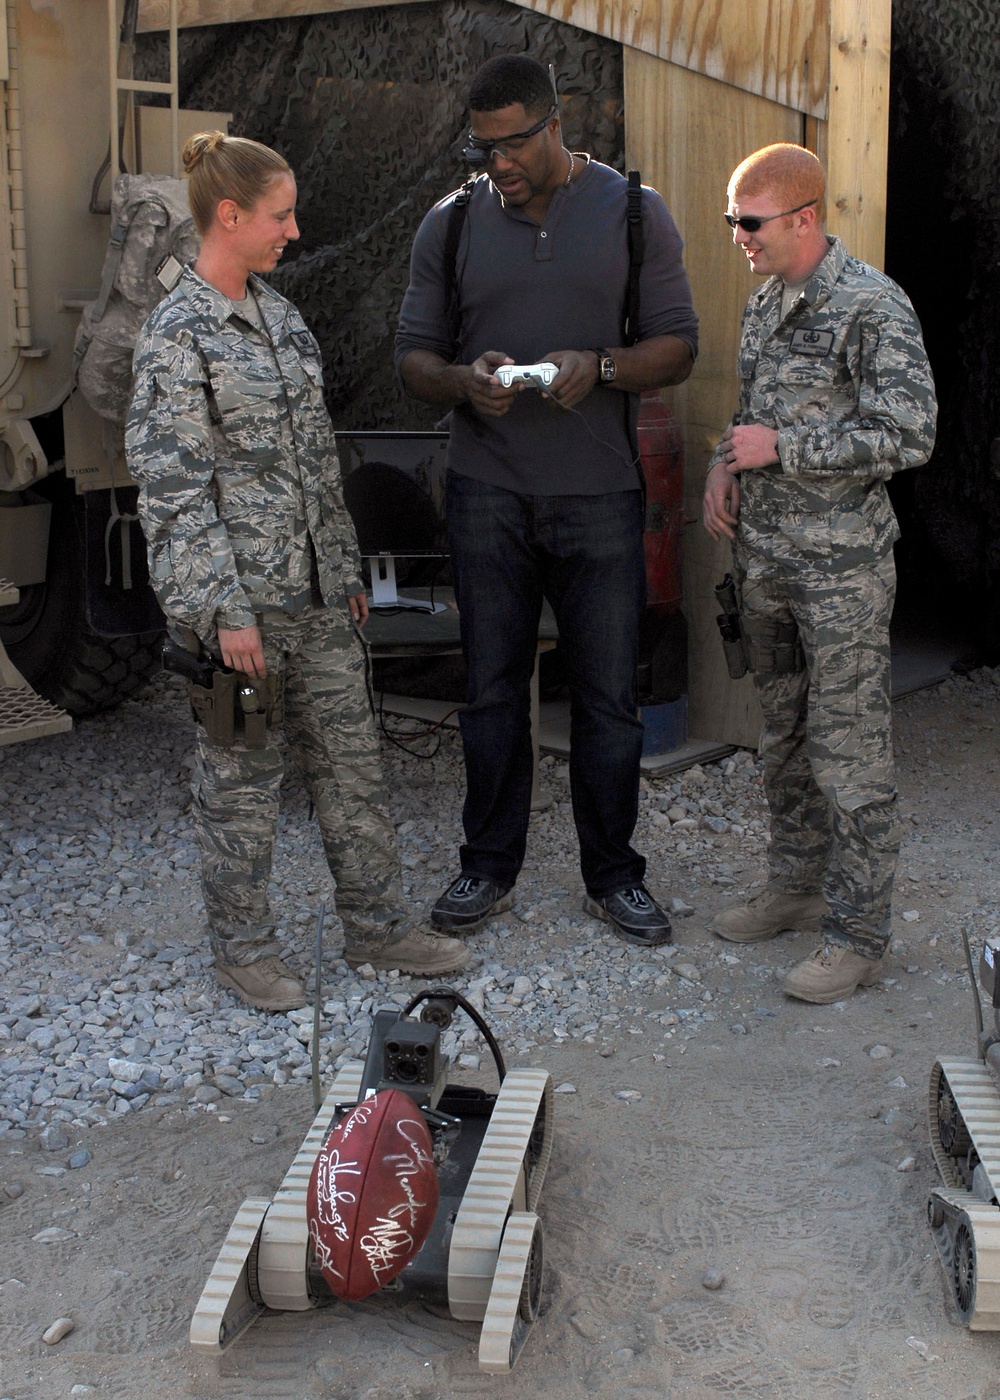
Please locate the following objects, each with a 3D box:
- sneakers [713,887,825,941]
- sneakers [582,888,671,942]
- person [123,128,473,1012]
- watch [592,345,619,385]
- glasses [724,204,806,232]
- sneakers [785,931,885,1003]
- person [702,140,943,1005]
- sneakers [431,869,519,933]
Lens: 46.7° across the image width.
[{"bbox_3d":[0.691,0.536,3.030,0.331,0.148,0.115,-2,13,-7],"label":"sneakers"},{"bbox_3d":[0.328,0.554,3.035,0.088,0.097,0.238,-5,8,-34],"label":"sneakers"},{"bbox_3d":[-0.503,-0.199,2.504,0.357,1.831,0.667,4,10,32],"label":"person"},{"bbox_3d":[0.237,-0.746,2.597,0.057,0.080,0.078,-3,5,-10],"label":"watch"},{"bbox_3d":[0.541,-0.977,2.367,0.170,0.056,0.079,3,9,27],"label":"glasses"},{"bbox_3d":[0.755,0.607,2.692,0.251,0.130,0.119,-3,10,-19],"label":"sneakers"},{"bbox_3d":[0.692,-0.251,2.606,0.441,1.862,0.591,0,8,7],"label":"person"},{"bbox_3d":[-0.077,0.538,3.048,0.092,0.110,0.269,-2,-7,18],"label":"sneakers"}]
